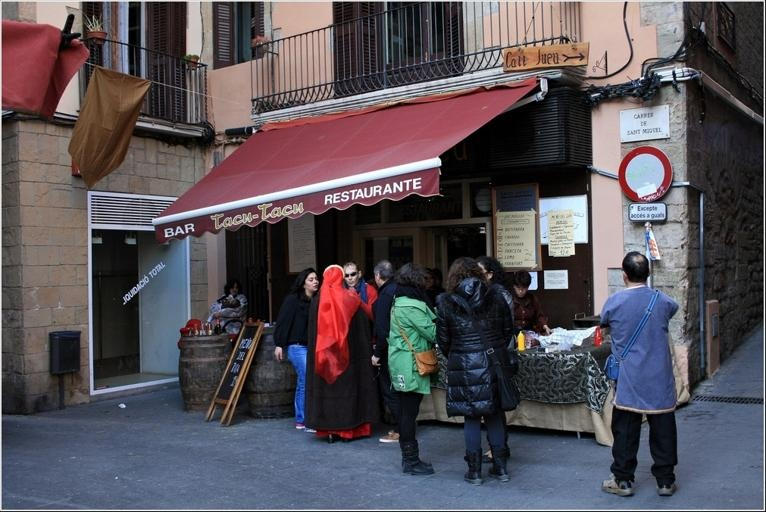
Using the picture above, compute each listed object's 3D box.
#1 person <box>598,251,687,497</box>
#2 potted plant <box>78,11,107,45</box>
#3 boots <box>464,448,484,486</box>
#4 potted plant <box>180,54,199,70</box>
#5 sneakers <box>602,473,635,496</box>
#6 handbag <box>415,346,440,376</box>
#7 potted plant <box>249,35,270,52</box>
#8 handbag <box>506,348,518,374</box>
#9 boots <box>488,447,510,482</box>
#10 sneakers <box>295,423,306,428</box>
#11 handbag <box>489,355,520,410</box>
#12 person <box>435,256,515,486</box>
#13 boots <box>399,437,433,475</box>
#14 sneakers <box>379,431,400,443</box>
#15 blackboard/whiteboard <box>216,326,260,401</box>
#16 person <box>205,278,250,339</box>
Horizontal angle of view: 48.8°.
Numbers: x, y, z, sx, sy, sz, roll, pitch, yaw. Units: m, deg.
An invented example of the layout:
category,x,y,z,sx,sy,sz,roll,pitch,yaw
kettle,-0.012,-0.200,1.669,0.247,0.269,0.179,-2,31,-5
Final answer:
category,x,y,z,sx,sy,sz,roll,pitch,yaw
person,3.062,1.370,10.022,0.892,2.811,0.683,0,8,17
potted plant,-5.161,-4.010,14.880,0.385,0.578,0.850,-5,9,-20
boots,1.122,2.605,10.502,0.189,0.428,0.426,1,-7,-15
potted plant,-3.723,-3.761,16.276,0.261,0.202,0.275,-1,4,-6
sneakers,2.825,2.704,10.045,0.178,0.265,0.383,-1,9,-42
handbag,0.546,1.326,10.729,0.397,0.314,0.107,-3,-14,-45
potted plant,-2.357,-4.110,16.149,0.381,0.312,0.596,-3,9,-8
handbag,1.613,1.289,10.461,0.105,0.285,0.210,-4,-14,10
boots,1.432,2.555,10.538,0.193,0.430,0.410,-3,-4,-19
sneakers,-1.245,2.502,12.479,0.202,0.079,0.129,-1,-11,27
handbag,1.512,1.490,10.307,0.258,0.785,0.467,6,11,44
person,1.167,1.387,10.395,0.965,2.710,0.585,-1,8,9
boots,0.398,2.533,10.821,0.418,0.424,0.358,-2,3,-10
sneakers,0.085,2.530,11.895,0.319,0.147,0.113,-2,-7,37
blackboard/whiteboard,-2.246,1.617,12.939,0.652,1.147,0.427,-8,10,-35
person,-2.774,0.913,14.736,0.574,0.782,0.418,-25,-44,31
